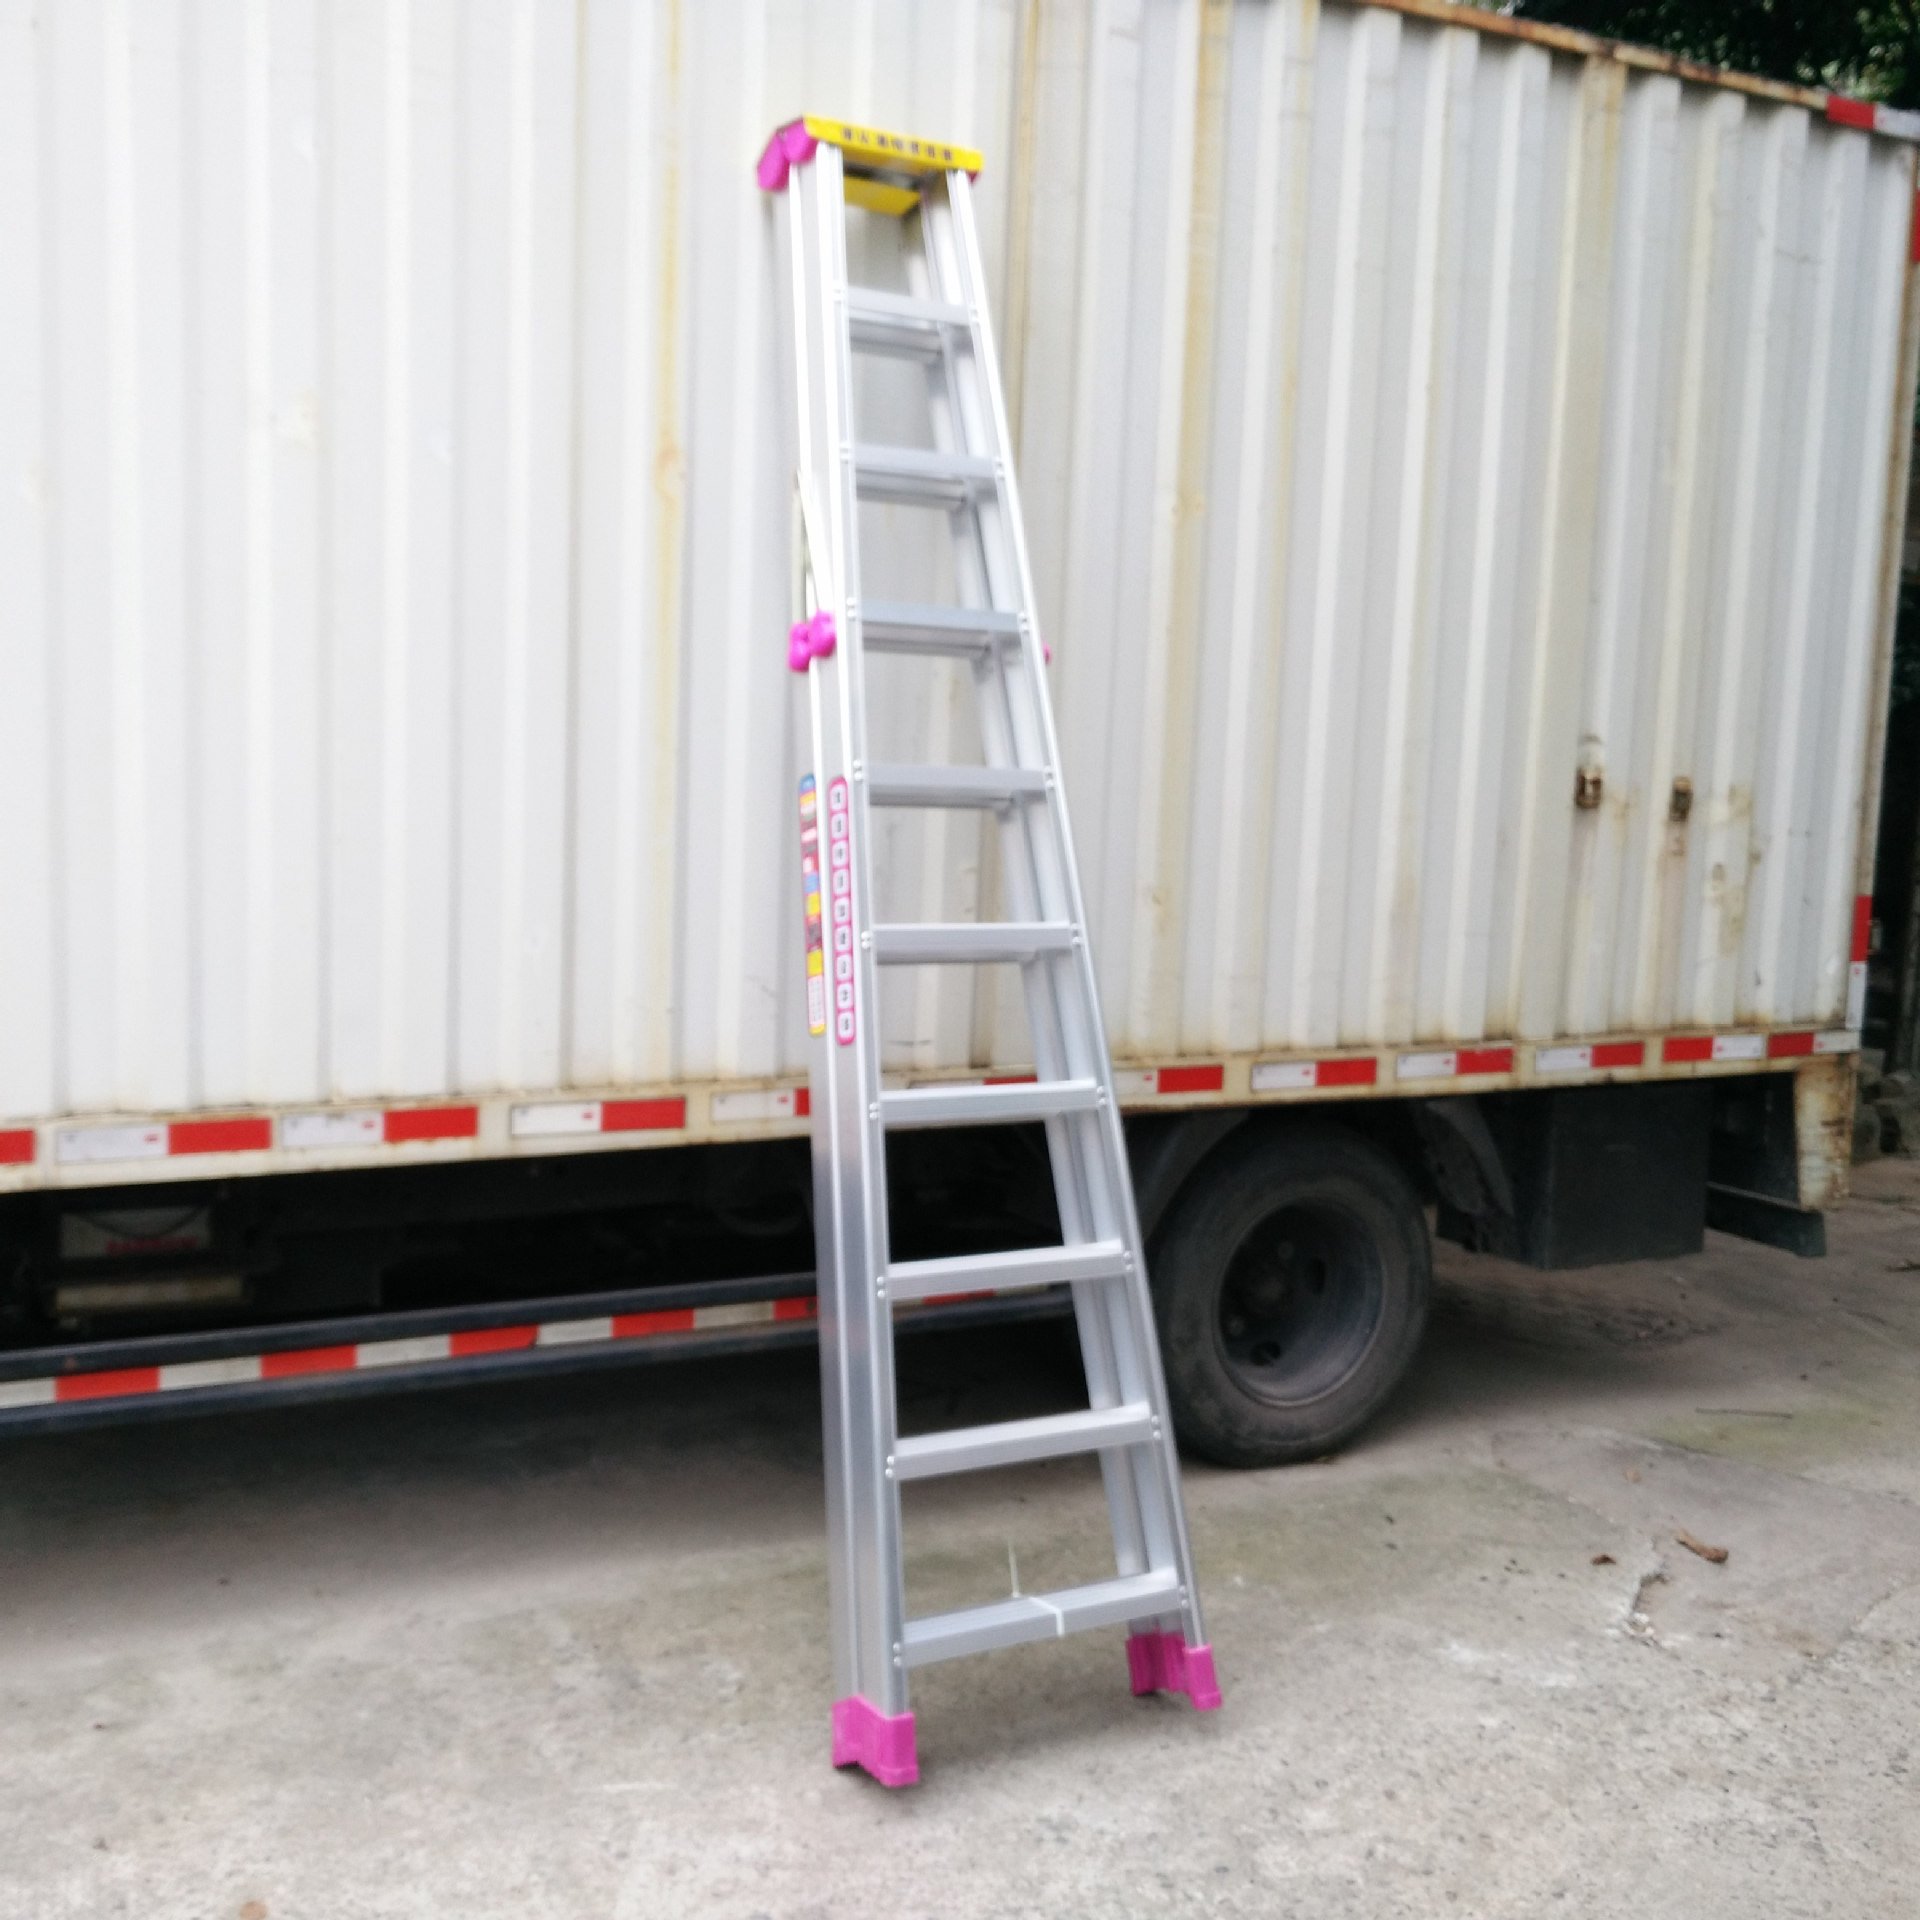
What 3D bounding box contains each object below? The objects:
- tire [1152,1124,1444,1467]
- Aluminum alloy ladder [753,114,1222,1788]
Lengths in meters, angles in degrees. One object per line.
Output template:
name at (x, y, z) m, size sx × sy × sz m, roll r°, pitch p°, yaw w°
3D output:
tire at (0.842, 0.904, 5.021) m, size 0.903 × 0.975 × 0.330 m, roll 2°, pitch 4°, yaw -25°
Aluminum alloy ladder at (-0.026, -0.137, 3.711) m, size 0.716 × 3.189 × 1.208 m, roll -1°, pitch 8°, yaw -21°
